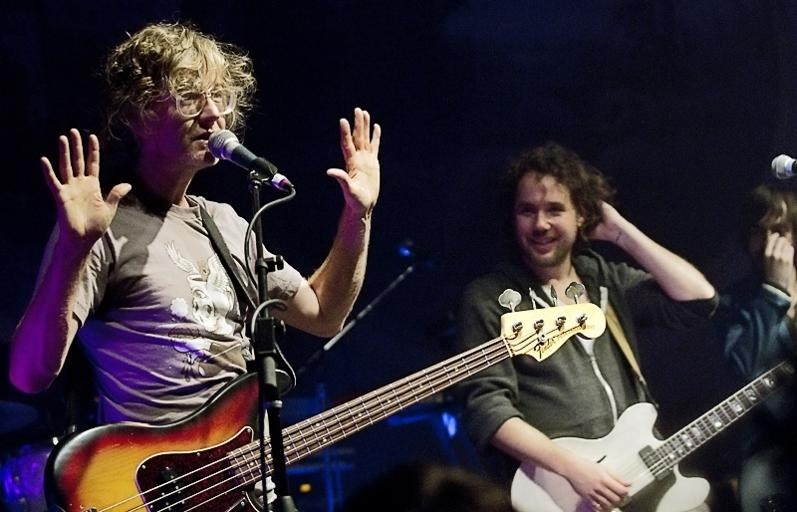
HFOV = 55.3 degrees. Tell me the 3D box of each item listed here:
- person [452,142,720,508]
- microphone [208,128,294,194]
[{"bbox_3d":[0.929,0.326,4.223,1.336,1.889,0.472,12,-23,-27],"label":"person"},{"bbox_3d":[-0.680,-0.421,3.352,0.467,0.292,0.110,-6,0,39],"label":"microphone"}]
